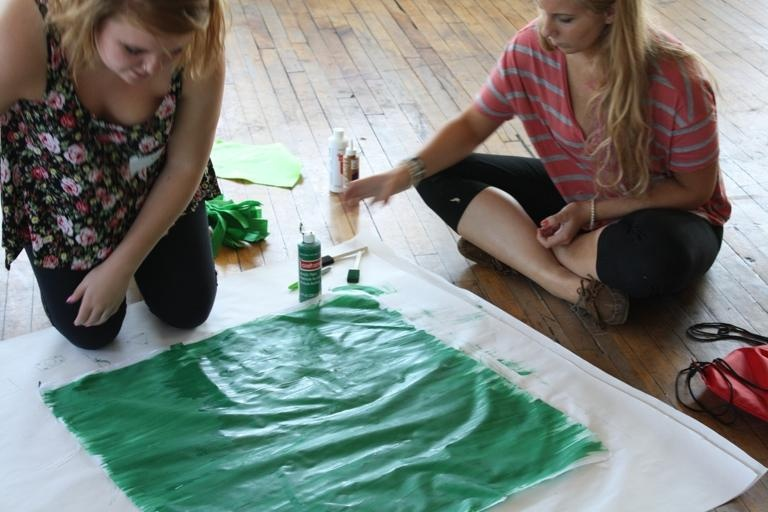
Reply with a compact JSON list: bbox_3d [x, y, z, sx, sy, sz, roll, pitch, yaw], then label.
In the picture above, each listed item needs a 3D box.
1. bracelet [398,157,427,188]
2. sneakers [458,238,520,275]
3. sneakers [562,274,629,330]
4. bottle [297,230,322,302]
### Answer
[{"bbox_3d":[0.130,-0.352,2.349,0.088,0.129,0.122,-21,87,-24],"label":"bracelet"},{"bbox_3d":[0.441,-0.008,2.371,0.201,0.067,0.139,28,1,-20],"label":"sneakers"},{"bbox_3d":[0.798,0.174,2.143,0.114,0.119,0.251,-7,23,-37],"label":"sneakers"},{"bbox_3d":[-0.279,0.030,2.093,0.091,0.247,0.189,0,43,-7],"label":"bottle"}]
